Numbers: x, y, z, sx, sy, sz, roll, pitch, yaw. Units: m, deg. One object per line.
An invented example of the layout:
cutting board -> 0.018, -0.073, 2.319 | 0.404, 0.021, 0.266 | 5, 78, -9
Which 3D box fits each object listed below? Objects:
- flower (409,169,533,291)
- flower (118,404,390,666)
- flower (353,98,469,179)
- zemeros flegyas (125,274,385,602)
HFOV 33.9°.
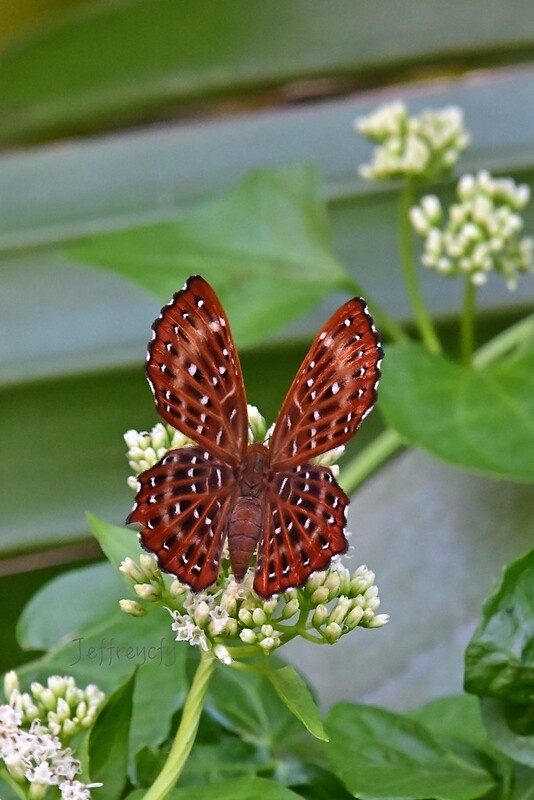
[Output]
flower -> 0.272, -0.203, 1.127 | 0.173, 0.146, 0.075 | -8, 4, 15
flower -> -0.013, 0.122, 0.926 | 0.351, 0.263, 0.101 | 1, -11, -8
flower -> 0.187, -0.340, 1.152 | 0.146, 0.087, 0.068 | -15, -8, 9
zemeros flegyas -> -0.017, 0.049, 0.843 | 0.301, 0.308, 0.113 | 7, -18, 0
